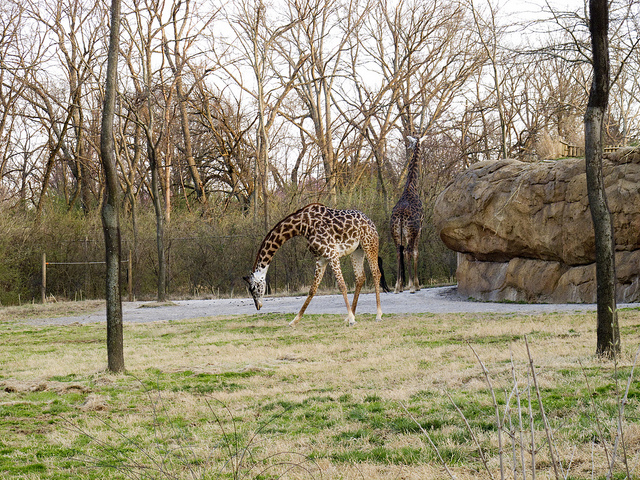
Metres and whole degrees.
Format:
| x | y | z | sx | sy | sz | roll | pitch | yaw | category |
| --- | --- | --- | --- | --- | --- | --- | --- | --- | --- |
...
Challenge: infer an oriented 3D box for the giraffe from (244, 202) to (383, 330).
| x | y | z | sx | sy | sz | roll | pitch | yaw | category |
| --- | --- | --- | --- | --- | --- | --- | --- | --- | --- |
| -0.050 | 0.607 | 28.556 | 3.394 | 3.149 | 1.470 | -2 | 12 | 1 | giraffe |
